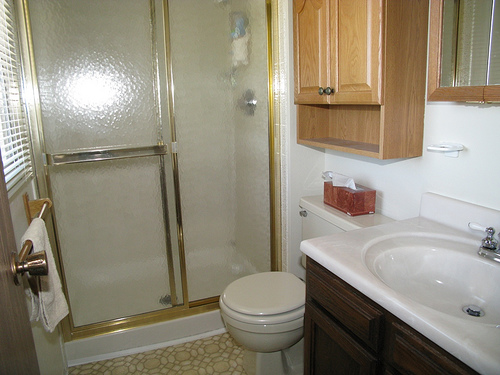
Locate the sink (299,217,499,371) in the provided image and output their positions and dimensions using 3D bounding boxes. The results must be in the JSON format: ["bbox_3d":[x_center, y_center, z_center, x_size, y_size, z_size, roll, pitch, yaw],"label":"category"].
[{"bbox_3d":[0.647,0.282,1.366,0.606,0.186,0.735,-13,17,-30],"label":"sink"}]

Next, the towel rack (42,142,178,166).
[{"bbox_3d":[-0.776,-0.194,2.086,0.725,0.082,0.041,-8,14,-12],"label":"towel rack"}]
